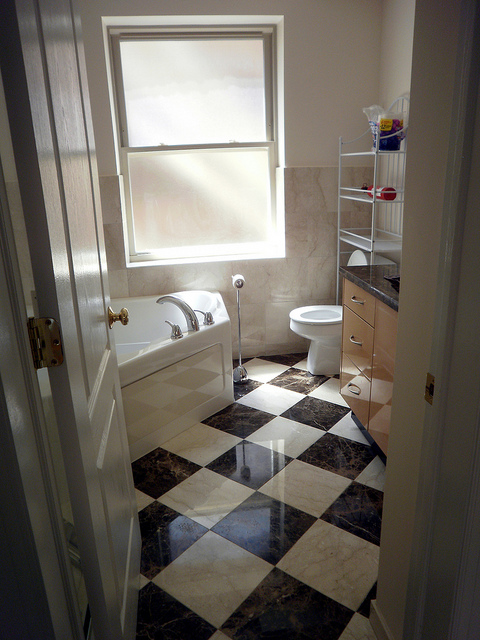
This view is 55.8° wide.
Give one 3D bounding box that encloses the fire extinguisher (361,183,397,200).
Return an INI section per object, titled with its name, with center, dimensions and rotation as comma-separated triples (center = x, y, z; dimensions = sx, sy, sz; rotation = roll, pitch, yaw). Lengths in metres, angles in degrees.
[fire extinguisher]
center = 0.861, -0.797, 2.825
dimensions = 0.127, 0.092, 0.536
rotation = 0, 15, 10

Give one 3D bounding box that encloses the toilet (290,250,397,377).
[toilet]
center = 0.653, -0.047, 3.085
dimensions = 0.551, 0.814, 0.360
rotation = -4, 11, -1

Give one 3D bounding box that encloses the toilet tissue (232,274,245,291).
[toilet tissue]
center = -0.012, -0.226, 3.028
dimensions = 0.060, 0.133, 0.118
rotation = -3, 16, -3

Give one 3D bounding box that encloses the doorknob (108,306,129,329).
[doorknob]
center = -0.332, -0.013, 1.277
dimensions = 0.056, 0.075, 0.067
rotation = -3, 6, 1
